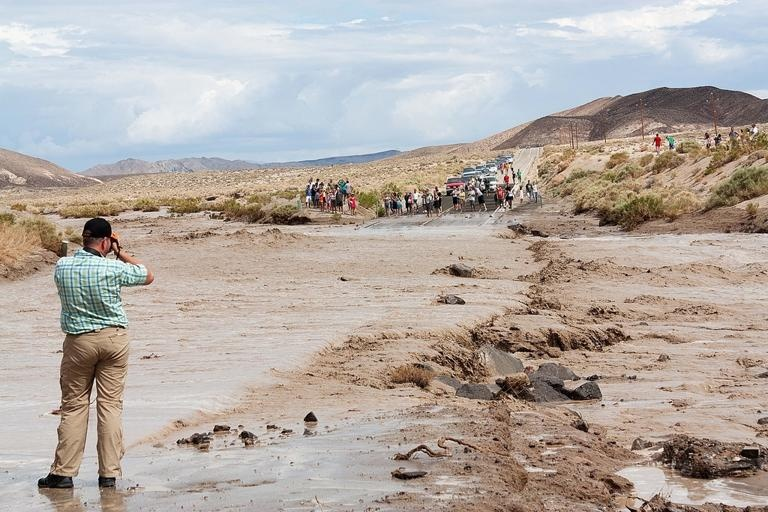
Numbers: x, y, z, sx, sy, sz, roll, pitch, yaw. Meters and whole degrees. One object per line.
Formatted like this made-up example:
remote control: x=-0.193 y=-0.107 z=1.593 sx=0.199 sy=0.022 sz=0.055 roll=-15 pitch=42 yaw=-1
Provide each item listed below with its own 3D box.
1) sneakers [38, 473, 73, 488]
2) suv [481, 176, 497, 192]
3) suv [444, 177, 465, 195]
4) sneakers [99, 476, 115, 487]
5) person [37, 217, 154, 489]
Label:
sneakers: x=-4.300 y=2.949 z=11.688 sx=0.459 sy=0.169 sz=0.189 roll=4 pitch=-2 yaw=13
suv: x=7.656 y=-5.300 z=65.709 sx=1.050 sy=0.956 sz=1.954 roll=0 pitch=11 yaw=6
suv: x=5.367 y=-5.448 z=67.814 sx=1.250 sy=0.849 sz=2.002 roll=-2 pitch=-1 yaw=8
sneakers: x=-3.626 y=2.966 z=11.736 sx=0.118 sy=0.086 sz=0.210 roll=1 pitch=4 yaw=-7
person: x=-3.870 y=1.258 z=11.864 sx=1.059 sy=3.460 sz=1.526 roll=4 pitch=14 yaw=22
